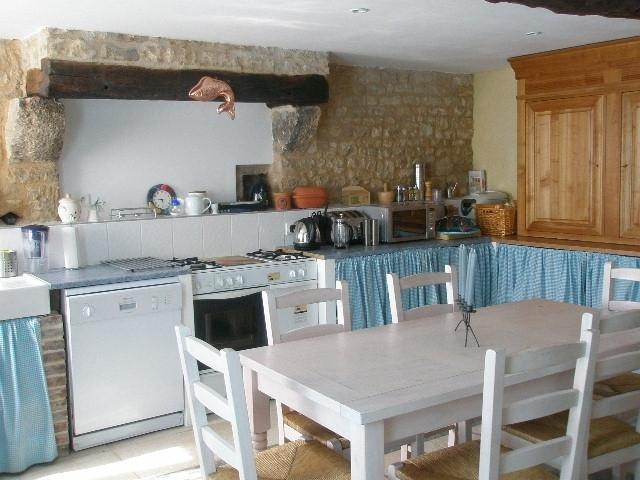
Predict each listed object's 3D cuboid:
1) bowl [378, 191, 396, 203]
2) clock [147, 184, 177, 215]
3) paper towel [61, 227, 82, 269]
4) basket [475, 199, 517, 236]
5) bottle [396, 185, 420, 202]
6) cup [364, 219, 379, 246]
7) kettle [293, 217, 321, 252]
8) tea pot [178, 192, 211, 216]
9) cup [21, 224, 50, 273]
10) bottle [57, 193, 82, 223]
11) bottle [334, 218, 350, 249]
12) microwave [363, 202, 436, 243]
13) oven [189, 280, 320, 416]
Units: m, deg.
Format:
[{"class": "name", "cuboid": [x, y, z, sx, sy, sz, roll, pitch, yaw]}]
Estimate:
[{"class": "bowl", "cuboid": [0.676, -0.449, 5.406, 0.159, 0.127, 0.182, 1, 12, 8]}, {"class": "clock", "cuboid": [-1.329, -0.339, 4.403, 0.330, 0.262, 0.040, -3, 1, -33]}, {"class": "paper towel", "cuboid": [-1.821, 0.052, 3.860, 0.114, 0.306, 0.156, -8, 15, -26]}, {"class": "basket", "cuboid": [1.711, -0.204, 5.254, 0.423, 0.238, 0.311, -1, 1, -38]}, {"class": "bottle", "cuboid": [0.910, -0.498, 5.529, 0.274, 0.165, 0.244, -4, 12, -16]}, {"class": "cup", "cuboid": [0.460, -0.071, 4.695, 0.126, 0.231, 0.134, -1, 13, 0]}, {"class": "kettle", "cuboid": [-0.113, -0.052, 4.522, 0.344, 0.270, 0.230, 1, 5, 3]}, {"class": "tea pot", "cuboid": [-1.039, -0.321, 4.486, 0.260, 0.187, 0.266, -1, 12, 0]}, {"class": "cup", "cuboid": [-2.030, 0.055, 3.789, 0.181, 0.341, 0.158, -8, 15, -26]}, {"class": "bottle", "cuboid": [-1.916, -0.246, 3.990, 0.232, 0.218, 0.152, 11, 17, 43]}, {"class": "bottle", "cuboid": [0.177, -0.063, 4.607, 0.191, 0.257, 0.077, 11, 18, 43]}, {"class": "microwave", "cuboid": [0.754, -0.161, 4.906, 0.673, 0.346, 0.348, -1, 12, 1]}, {"class": "oven", "cuboid": [-0.438, 0.666, 4.075, 0.488, 0.446, 0.824, -9, 5, -27]}]
